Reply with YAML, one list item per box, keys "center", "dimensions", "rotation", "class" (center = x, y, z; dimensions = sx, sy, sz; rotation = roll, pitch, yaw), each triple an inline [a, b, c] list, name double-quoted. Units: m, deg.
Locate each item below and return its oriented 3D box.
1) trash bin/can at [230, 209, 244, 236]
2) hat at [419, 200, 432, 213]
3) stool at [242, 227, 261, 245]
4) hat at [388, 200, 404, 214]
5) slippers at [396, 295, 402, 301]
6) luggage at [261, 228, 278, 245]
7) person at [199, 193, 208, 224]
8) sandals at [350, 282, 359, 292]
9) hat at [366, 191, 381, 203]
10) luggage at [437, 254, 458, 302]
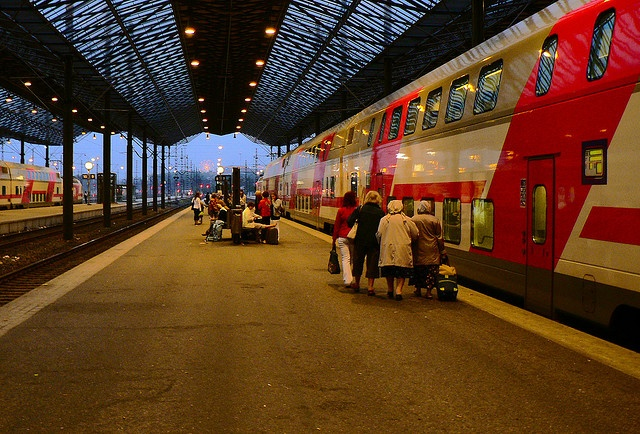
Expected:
- center: [-3.573, 0.265, 19.737]
  dimensions: [0.539, 1.160, 0.521]
  rotation: [-1, 3, -29]
  class: "trash bin/can"
- center: [2.227, -0.215, 9.683]
  dimensions: [0.207, 0.278, 0.255]
  rotation: [11, -9, -21]
  class: "hat"
- center: [-3.127, 0.808, 20.148]
  dimensions: [0.689, 0.593, 1.047]
  rotation: [2, 3, -10]
  class: "stool"
- center: [1.562, -0.207, 9.498]
  dimensions: [0.214, 0.228, 0.293]
  rotation: [7, 14, 36]
  class: "hat"
- center: [1.659, 1.720, 9.703]
  dimensions: [0.104, 0.131, 0.328]
  rotation: [2, 2, 11]
  class: "slippers"
- center: [-2.134, 0.822, 19.650]
  dimensions: [0.617, 0.583, 0.326]
  rotation: [3, 8, 10]
  class: "luggage"
- center: [-9.847, -0.627, 38.827]
  dimensions: [0.618, 2.715, 0.759]
  rotation: [4, -10, 3]
  class: "person"
- center: [0.791, 1.613, 10.478]
  dimensions: [0.173, 0.194, 0.487]
  rotation: [0, -6, -7]
  class: "sandals"
- center: [1.173, -0.436, 10.190]
  dimensions: [0.228, 0.280, 0.316]
  rotation: [3, 9, 3]
  class: "hat"
- center: [2.696, 1.215, 9.769]
  dimensions: [0.380, 0.975, 0.357]
  rotation: [-8, 33, 19]
  class: "luggage"
